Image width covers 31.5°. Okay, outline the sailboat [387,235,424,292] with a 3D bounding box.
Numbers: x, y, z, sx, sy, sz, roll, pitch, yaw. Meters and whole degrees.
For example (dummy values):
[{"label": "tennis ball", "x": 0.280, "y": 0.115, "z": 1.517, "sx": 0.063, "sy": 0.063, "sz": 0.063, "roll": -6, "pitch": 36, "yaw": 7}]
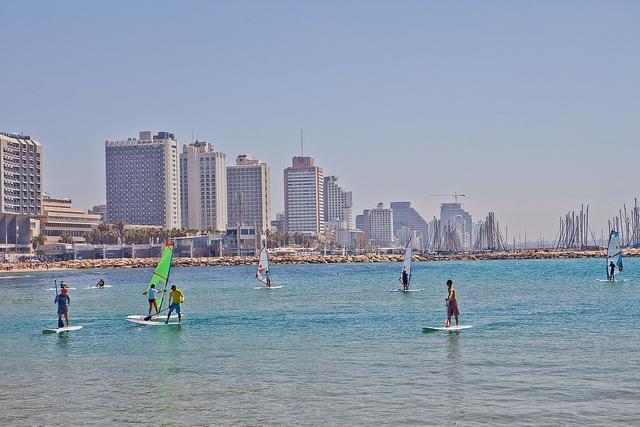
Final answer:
[{"label": "sailboat", "x": 10.990, "y": 6.683, "z": 144.561, "sx": 3.465, "sy": 11.182, "sz": 21.883, "roll": 0, "pitch": 11, "yaw": 5}]
